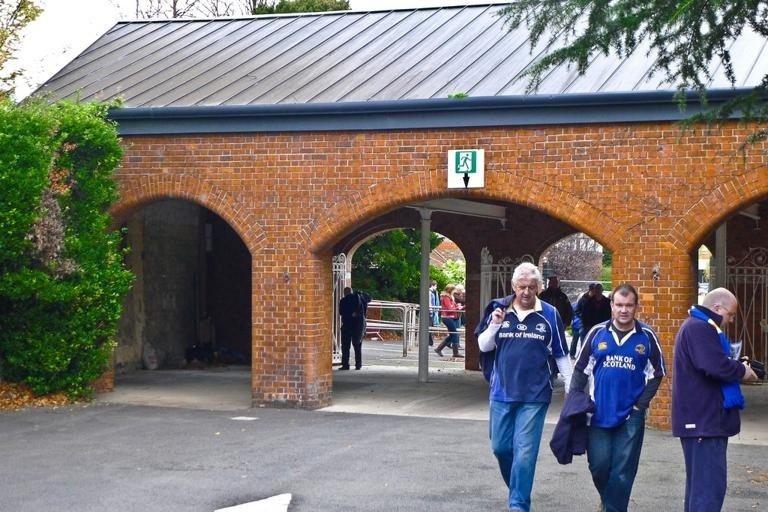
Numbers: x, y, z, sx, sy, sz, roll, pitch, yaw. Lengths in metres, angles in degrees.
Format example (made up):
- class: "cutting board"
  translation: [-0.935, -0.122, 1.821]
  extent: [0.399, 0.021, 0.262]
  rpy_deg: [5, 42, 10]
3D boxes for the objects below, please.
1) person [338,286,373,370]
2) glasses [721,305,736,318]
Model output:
- class: "person"
  translation: [-0.760, 1.727, 24.536]
  extent: [0.684, 1.980, 1.520]
  rpy_deg: [1, -5, -1]
- class: "glasses"
  translation: [3.921, 0.626, 11.603]
  extent: [0.148, 0.068, 0.156]
  rpy_deg: [7, -14, -31]
